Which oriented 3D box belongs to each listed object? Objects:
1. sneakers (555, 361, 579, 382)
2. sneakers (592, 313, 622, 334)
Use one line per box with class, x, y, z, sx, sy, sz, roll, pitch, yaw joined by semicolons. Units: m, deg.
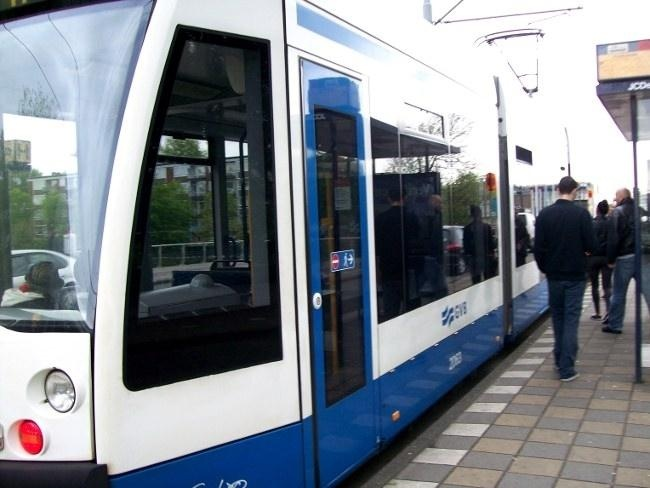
sneakers;2.863;1.506;6.998;0.123;0.257;0.373;-2;2;34
sneakers;4.479;1.244;9.309;0.212;0.251;0.628;-1;2;0
